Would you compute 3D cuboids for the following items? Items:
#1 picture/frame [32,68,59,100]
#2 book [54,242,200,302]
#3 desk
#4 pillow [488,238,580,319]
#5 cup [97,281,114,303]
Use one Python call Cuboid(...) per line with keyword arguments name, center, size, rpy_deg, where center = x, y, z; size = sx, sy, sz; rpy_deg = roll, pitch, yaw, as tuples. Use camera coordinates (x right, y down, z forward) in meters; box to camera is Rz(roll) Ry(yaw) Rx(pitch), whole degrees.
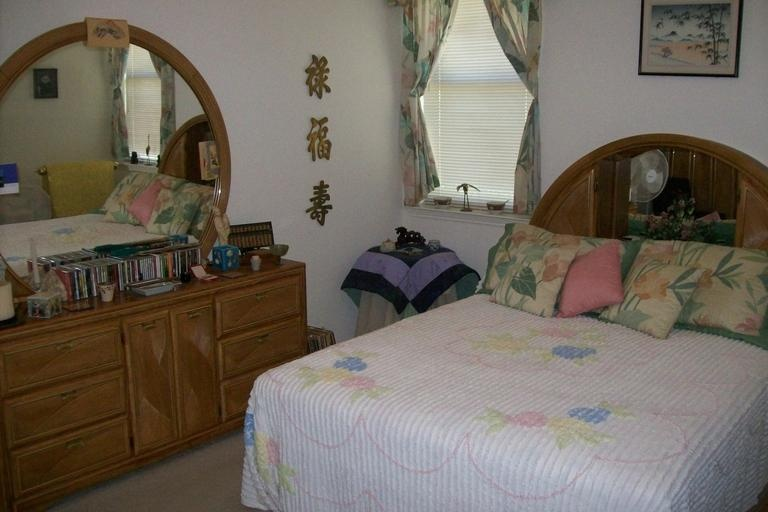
Cuboid(name="picture/frame", center=(-2.018, -1.028, 3.261), size=(0.182, 0.216, 0.028), rpy_deg=(-7, 11, -41))
Cuboid(name="book", center=(-1.576, 0.100, 3.456), size=(0.861, 0.234, 0.141), rpy_deg=(-9, 15, -37))
Cuboid(name="desk", center=(0.219, 0.191, 4.754), size=(0.841, 0.869, 0.919), rpy_deg=(-3, 8, -40))
Cuboid(name="pillow", center=(1.030, 0.149, 3.759), size=(0.152, 0.497, 0.497), rpy_deg=(34, -13, -33))
Cuboid(name="cup", center=(-1.647, 0.207, 3.282), size=(0.106, 0.119, 0.109), rpy_deg=(3, 9, 0))
